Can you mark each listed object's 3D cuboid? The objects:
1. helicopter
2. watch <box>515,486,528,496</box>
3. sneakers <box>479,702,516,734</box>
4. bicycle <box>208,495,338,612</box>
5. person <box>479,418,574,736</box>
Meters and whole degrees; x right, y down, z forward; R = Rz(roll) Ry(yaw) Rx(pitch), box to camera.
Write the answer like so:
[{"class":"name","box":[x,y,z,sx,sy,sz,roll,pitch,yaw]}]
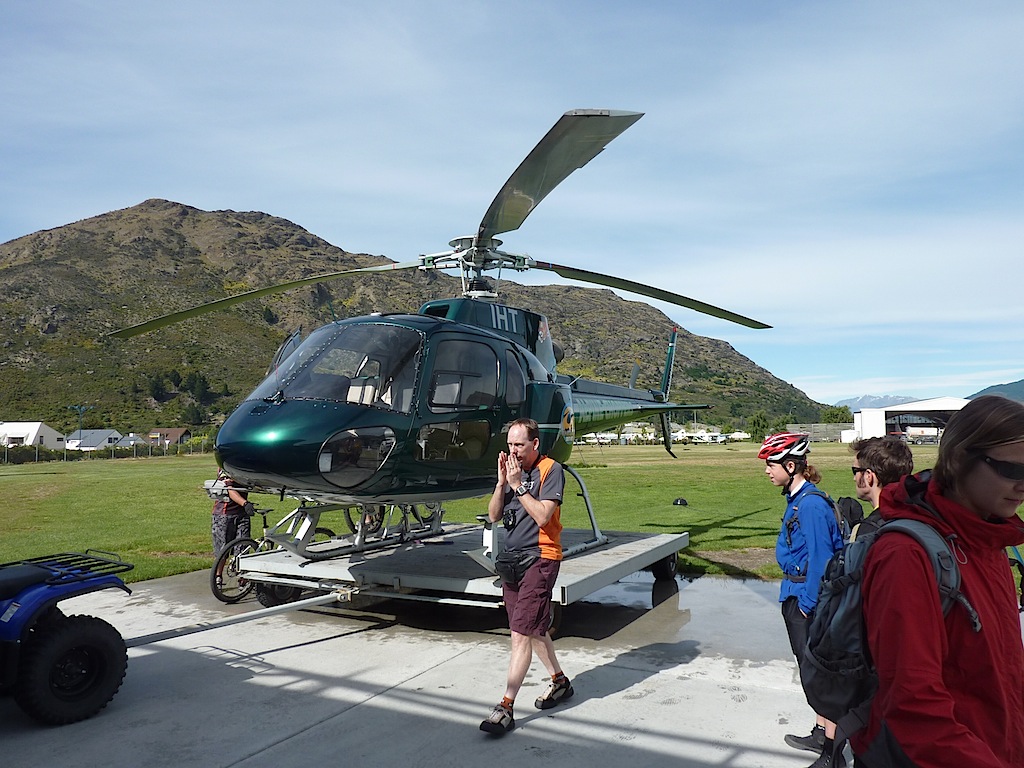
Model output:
[{"class":"helicopter","box":[-0.293,-0.091,9.067,8.285,2.627,8.498,7,1,30]},{"class":"watch","box":[0.065,0.721,4.679,0.086,0.076,0.074,0,-6,-3]},{"class":"sneakers","box":[-0.116,2.224,4.497,0.151,0.119,0.337,-11,-23,24]},{"class":"bicycle","box":[-2.674,2.155,8.346,1.041,0.720,1.810,0,-1,36]},{"class":"person","box":[0.076,1.293,4.800,0.597,2.089,0.528,-1,-7,1]}]
